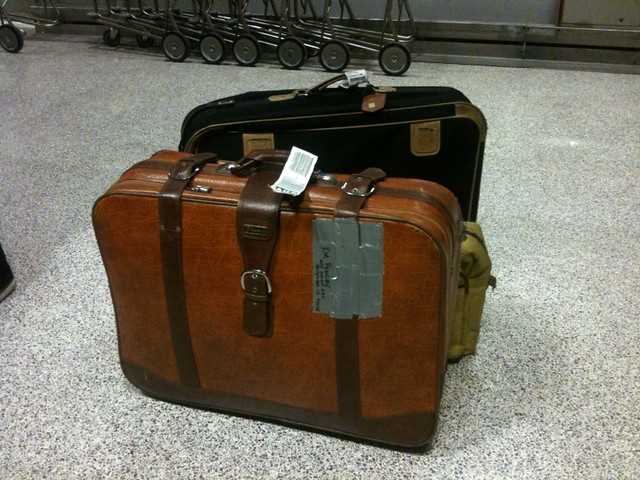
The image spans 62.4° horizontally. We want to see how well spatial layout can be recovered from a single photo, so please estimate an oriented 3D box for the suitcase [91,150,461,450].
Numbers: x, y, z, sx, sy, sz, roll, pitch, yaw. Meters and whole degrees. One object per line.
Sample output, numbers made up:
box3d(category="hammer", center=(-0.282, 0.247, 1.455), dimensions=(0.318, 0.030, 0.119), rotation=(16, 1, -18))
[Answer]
box3d(category="suitcase", center=(-0.097, 0.116, 1.327), dimensions=(0.835, 0.684, 0.304), rotation=(6, 29, 13))
